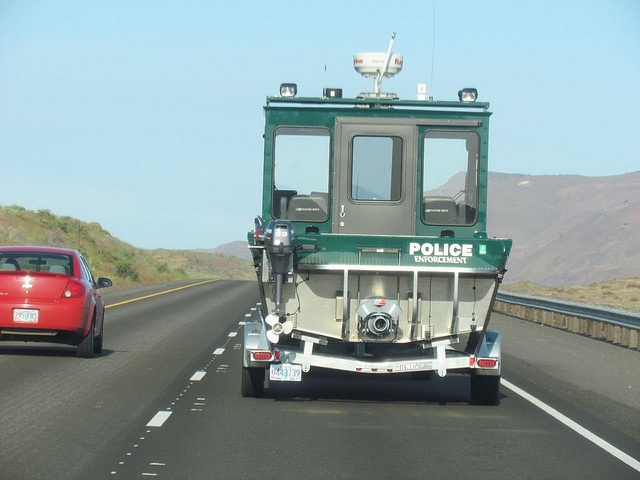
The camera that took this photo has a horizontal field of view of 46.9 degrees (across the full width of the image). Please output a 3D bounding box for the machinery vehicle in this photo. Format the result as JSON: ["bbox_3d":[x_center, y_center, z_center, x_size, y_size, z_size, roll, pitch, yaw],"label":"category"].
[{"bbox_3d":[0.812,-0.011,11.039,3.750,5.182,1.900,1,0,-7],"label":"machinery vehicle"}]
